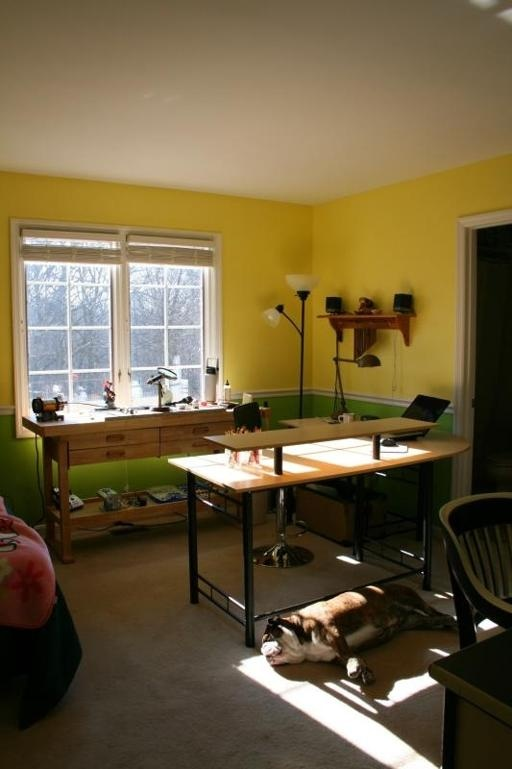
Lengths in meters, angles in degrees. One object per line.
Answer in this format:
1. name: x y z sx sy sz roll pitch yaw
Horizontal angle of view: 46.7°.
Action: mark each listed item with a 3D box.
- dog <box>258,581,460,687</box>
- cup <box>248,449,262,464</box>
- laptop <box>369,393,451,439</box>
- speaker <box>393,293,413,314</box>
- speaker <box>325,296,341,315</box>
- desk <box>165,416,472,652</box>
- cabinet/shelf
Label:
1. dog: 0.472 1.047 2.581 0.878 0.232 0.363 -16 54 -14
2. cup: -0.016 0.384 3.160 0.061 0.070 0.136 -2 3 -1
3. laptop: 1.071 0.172 3.845 0.301 0.191 0.315 -4 8 -18
4. speaker: 1.059 -0.583 4.357 0.151 0.160 0.150 -2 5 -31
5. speaker: 0.644 -0.655 4.977 0.137 0.186 0.137 2 6 30
6. desk: 0.248 0.473 3.082 1.398 0.767 1.112 -4 5 -30
7. cabinet/shelf: -0.810 0.631 4.288 1.602 0.843 0.484 -2 6 -36
